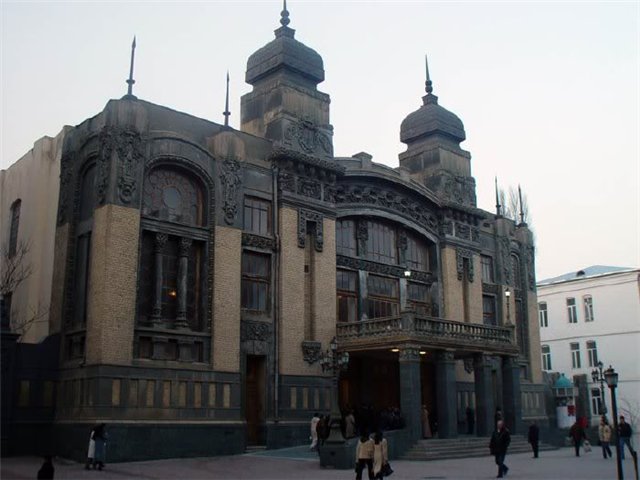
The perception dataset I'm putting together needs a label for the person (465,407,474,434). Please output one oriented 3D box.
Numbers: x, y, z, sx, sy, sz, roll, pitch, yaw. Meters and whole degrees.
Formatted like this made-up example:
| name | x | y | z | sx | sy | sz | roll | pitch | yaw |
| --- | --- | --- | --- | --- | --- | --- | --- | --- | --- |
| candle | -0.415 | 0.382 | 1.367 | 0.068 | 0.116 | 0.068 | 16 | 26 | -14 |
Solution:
| name | x | y | z | sx | sy | sz | roll | pitch | yaw |
| --- | --- | --- | --- | --- | --- | --- | --- | --- | --- |
| person | 10.726 | 12.864 | 44.731 | 0.569 | 1.862 | 1.267 | -6 | -19 | 12 |
